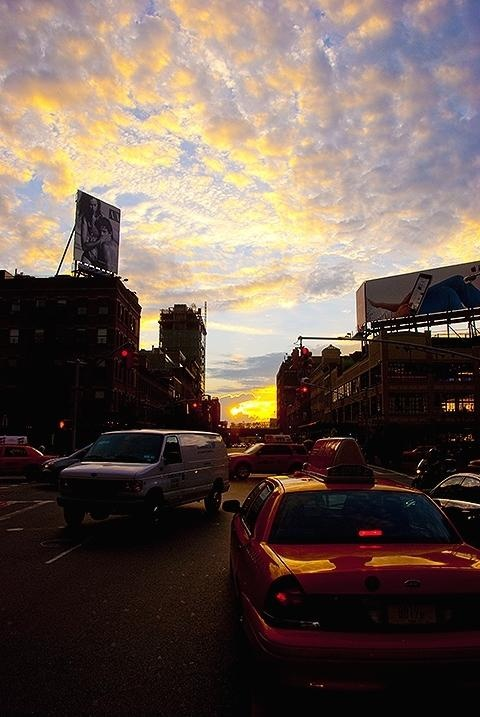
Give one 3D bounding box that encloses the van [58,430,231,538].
[{"bbox_3d":[-1.953,2.646,11.417,1.967,1.696,4.110,-6,-14,19],"label":"van"}]
